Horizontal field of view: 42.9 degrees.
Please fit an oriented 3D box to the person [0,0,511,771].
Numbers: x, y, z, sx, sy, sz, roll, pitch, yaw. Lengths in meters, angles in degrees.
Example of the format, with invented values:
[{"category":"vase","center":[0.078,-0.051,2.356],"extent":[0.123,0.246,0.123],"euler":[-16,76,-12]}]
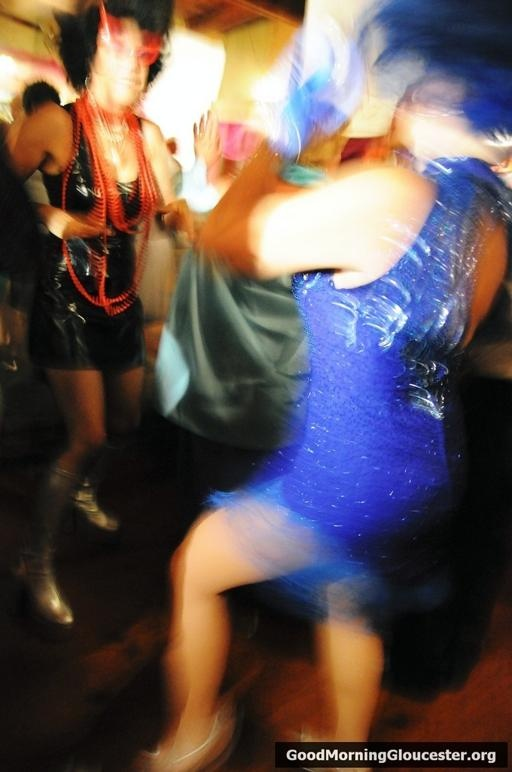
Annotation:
[{"category":"person","center":[0.085,0.110,0.903],"extent":[0.371,1.048,0.606],"euler":[13,44,18]}]
